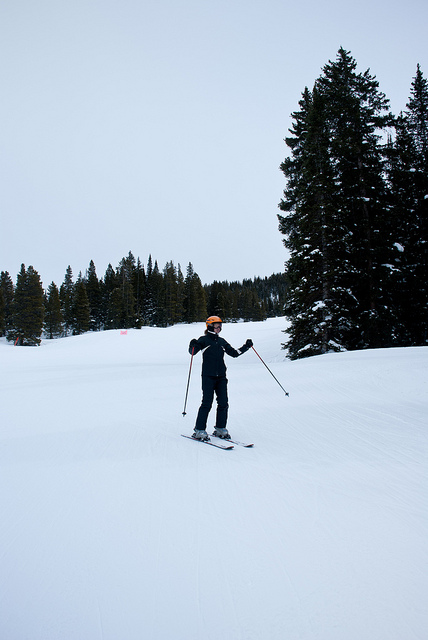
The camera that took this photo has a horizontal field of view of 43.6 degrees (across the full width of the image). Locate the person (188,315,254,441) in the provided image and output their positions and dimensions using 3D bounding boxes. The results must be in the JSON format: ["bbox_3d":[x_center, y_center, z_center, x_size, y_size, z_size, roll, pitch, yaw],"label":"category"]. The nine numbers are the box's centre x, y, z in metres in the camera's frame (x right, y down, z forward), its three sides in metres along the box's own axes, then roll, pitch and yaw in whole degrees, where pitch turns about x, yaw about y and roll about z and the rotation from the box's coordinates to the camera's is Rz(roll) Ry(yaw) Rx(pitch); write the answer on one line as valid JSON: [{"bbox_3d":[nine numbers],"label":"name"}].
[{"bbox_3d":[0.053,0.830,7.869,0.817,1.718,1.593,1,10,2],"label":"person"}]

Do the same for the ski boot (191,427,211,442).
[{"bbox_3d":[-0.171,1.548,7.255,0.102,0.181,0.337,12,-17,-38],"label":"ski boot"}]
